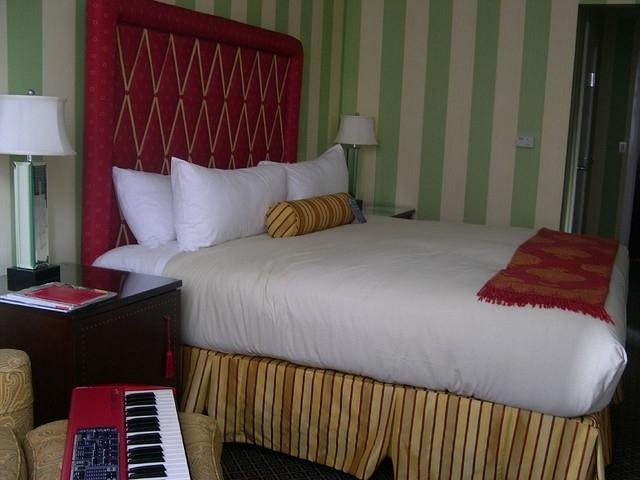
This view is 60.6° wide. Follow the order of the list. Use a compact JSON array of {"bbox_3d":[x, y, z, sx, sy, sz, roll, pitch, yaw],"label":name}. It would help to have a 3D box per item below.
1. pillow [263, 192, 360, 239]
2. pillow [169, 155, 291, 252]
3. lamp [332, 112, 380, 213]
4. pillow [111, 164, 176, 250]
[{"bbox_3d":[-0.036,-0.151,3.523,0.216,0.252,0.748,-21,-5,34],"label":"pillow"},{"bbox_3d":[-0.432,-0.172,3.242,0.254,0.563,0.878,-19,-11,42],"label":"pillow"},{"bbox_3d":[0.336,-0.745,5.251,0.331,0.934,0.386,8,18,20],"label":"lamp"},{"bbox_3d":[-0.972,-0.192,3.060,0.323,0.420,0.221,-3,8,-25],"label":"pillow"}]
